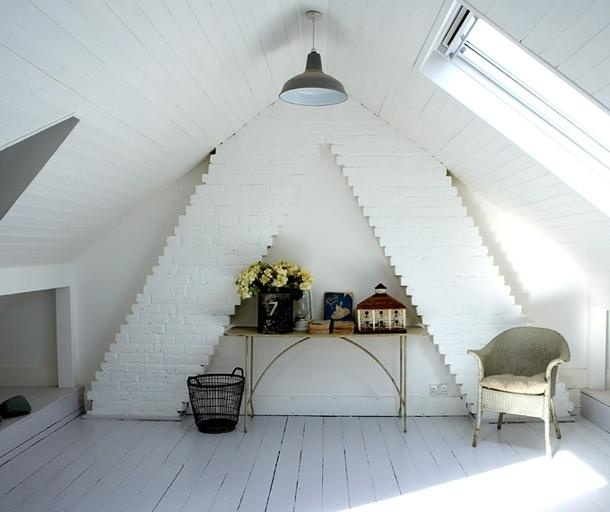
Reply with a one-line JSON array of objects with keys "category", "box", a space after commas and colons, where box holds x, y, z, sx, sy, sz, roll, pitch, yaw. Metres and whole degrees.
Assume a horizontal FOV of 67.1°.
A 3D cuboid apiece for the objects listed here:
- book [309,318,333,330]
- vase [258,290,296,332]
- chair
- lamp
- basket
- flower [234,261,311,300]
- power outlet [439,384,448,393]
[{"category": "book", "box": [0.101, 0.555, 3.650, 0.166, 0.105, 0.273, -1, -10, 6]}, {"category": "vase", "box": [-0.250, 0.390, 3.608, 0.293, 0.338, 0.306, 3, 17, 8]}, {"category": "chair", "box": [1.572, 0.940, 3.321, 0.661, 0.777, 0.678, -1, -7, 18]}, {"category": "lamp", "box": [0.039, -1.165, 2.672, 0.393, 0.442, 0.377, -12, 18, -41]}, {"category": "basket", "box": [-0.721, 1.112, 3.678, 0.463, 0.452, 0.467, -6, -6, 39]}, {"category": "flower", "box": [-0.300, 0.183, 3.657, 0.434, 0.316, 0.597, -4, 0, -3]}, {"category": "power outlet", "box": [1.151, 1.104, 3.825, 0.070, 0.068, 0.017, 4, -6, 3]}]
